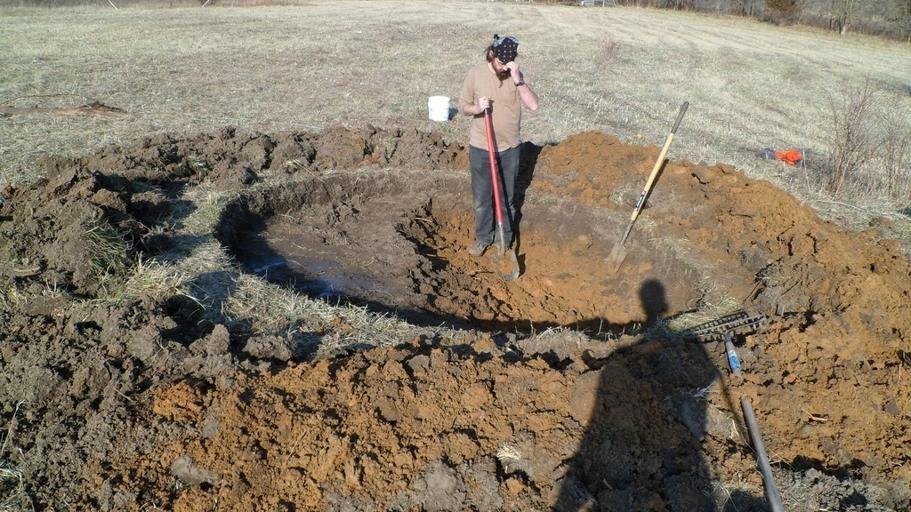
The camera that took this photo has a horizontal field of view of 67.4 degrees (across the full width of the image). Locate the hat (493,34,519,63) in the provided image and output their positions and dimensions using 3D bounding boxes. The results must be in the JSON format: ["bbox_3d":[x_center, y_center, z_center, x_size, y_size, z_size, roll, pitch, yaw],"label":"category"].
[{"bbox_3d":[0.985,-4.098,13.461,0.564,0.516,0.558,-3,16,-11],"label":"hat"}]

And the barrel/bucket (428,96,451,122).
[{"bbox_3d":[-0.423,-3.927,17.914,0.695,0.642,0.609,0,31,-4],"label":"barrel/bucket"}]
